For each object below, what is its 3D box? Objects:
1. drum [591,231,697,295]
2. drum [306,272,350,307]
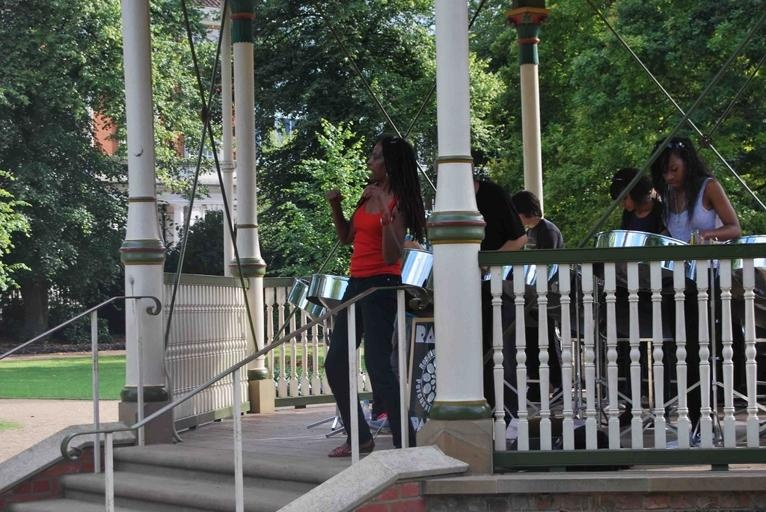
[{"bbox_3d":[4.178,-0.082,27.997,1.475,0.553,0.507,-2,-1,5],"label":"drum"},{"bbox_3d":[-0.950,0.588,28.754,0.656,0.388,0.641,10,-21,4],"label":"drum"}]
